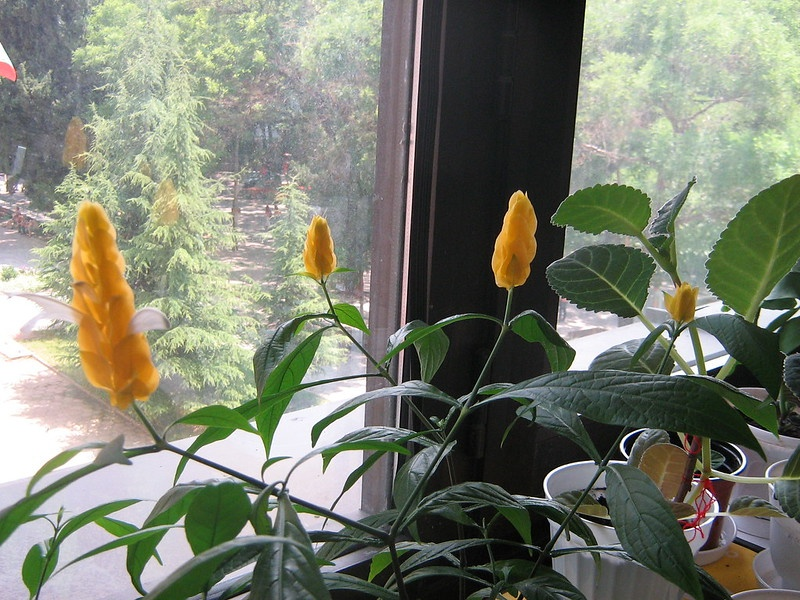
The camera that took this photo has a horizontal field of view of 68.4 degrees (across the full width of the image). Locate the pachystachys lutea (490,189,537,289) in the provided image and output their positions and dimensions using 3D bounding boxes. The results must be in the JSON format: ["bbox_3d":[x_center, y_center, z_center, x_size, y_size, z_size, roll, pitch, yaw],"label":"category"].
[{"bbox_3d":[0.153,-0.077,0.779,0.054,0.135,0.101,2,16,12],"label":"pachystachys lutea"}]

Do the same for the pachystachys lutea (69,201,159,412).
[{"bbox_3d":[-0.273,0.003,0.559,0.066,0.190,0.105,-10,18,-30],"label":"pachystachys lutea"}]

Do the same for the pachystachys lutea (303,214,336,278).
[{"bbox_3d":[-0.118,-0.075,0.867,0.042,0.098,0.082,-4,16,-9],"label":"pachystachys lutea"}]

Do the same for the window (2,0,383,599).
[{"bbox_3d":[-0.331,-0.082,1.321,0.890,1.022,0.729,-2,11,-2],"label":"window"}]
